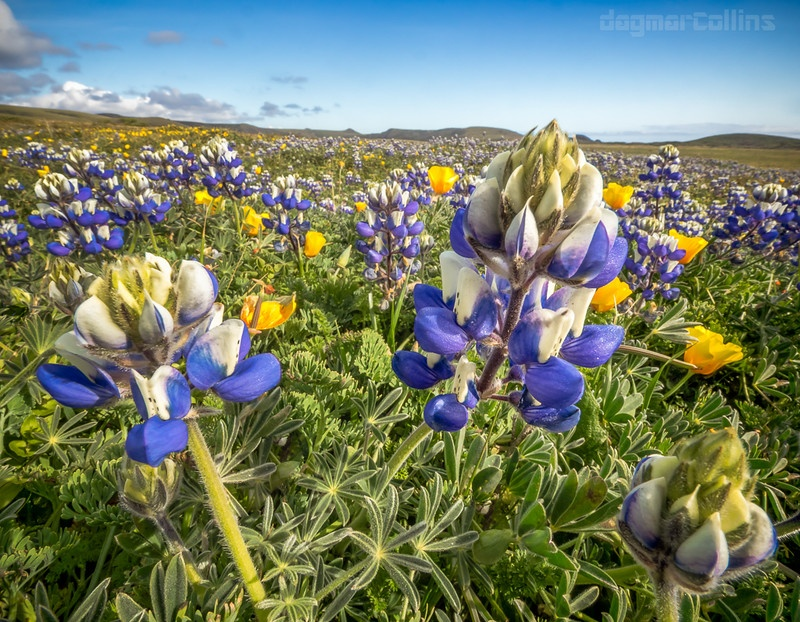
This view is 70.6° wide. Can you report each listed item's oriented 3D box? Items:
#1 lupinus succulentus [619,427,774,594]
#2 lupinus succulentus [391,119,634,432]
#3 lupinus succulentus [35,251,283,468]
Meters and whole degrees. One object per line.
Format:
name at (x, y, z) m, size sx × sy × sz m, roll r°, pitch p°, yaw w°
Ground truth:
lupinus succulentus at (0.962, 0.633, 1.785) m, size 0.439 × 0.567 × 0.196 m, roll 21°, pitch 31°, yaw 28°
lupinus succulentus at (0.429, -0.110, 2.062) m, size 0.840 × 1.094 × 0.485 m, roll 8°, pitch 27°, yaw 6°
lupinus succulentus at (-0.844, 0.104, 2.113) m, size 0.674 × 0.817 × 0.816 m, roll 11°, pitch 24°, yaw 43°
